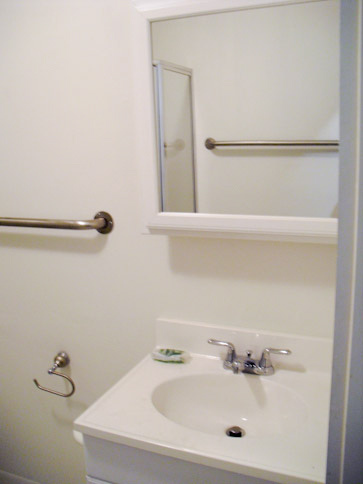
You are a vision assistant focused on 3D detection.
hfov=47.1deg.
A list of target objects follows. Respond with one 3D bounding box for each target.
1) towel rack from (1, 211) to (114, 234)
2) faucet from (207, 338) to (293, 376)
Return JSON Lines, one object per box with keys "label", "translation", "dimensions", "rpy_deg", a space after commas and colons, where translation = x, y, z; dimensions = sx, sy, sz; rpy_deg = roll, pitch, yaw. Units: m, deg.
{"label": "towel rack", "translation": [-0.427, -0.053, 1.362], "dimensions": [0.403, 0.075, 0.135], "rpy_deg": [0, 9, 20]}
{"label": "faucet", "translation": [0.187, 0.326, 1.156], "dimensions": [0.226, 0.084, 0.069], "rpy_deg": [6, -15, 5]}
